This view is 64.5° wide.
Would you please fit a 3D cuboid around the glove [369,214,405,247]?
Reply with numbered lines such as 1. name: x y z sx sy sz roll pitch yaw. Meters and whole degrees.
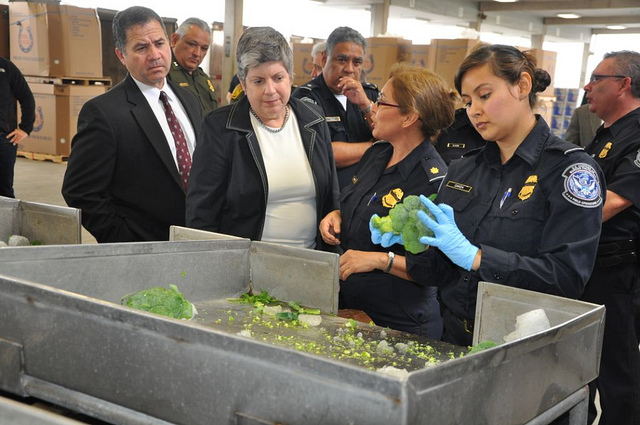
1. glove: 0.311 0.102 2.395 0.143 0.088 0.165 -1 48 -7

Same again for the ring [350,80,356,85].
1. ring: 0.235 -0.941 3.617 0.054 0.014 0.047 6 53 -17

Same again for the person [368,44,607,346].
1. person: 0.843 -0.210 2.148 0.658 0.969 0.585 9 16 14

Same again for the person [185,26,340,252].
1. person: -0.288 -0.385 2.800 0.876 1.213 0.397 1 17 -13

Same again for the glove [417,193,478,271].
1. glove: 0.530 0.079 2.075 0.275 0.297 0.116 8 16 11

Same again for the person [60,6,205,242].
1. person: -1.120 -0.517 2.919 0.705 1.327 0.501 -3 18 -26

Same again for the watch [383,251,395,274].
1. watch: 0.350 0.245 2.550 0.065 0.092 0.083 19 61 15

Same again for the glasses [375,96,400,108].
1. glasses: 0.363 -0.584 2.678 0.098 0.024 0.086 9 13 -7

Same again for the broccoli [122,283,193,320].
1. broccoli: -0.639 0.353 2.001 0.213 0.067 0.202 10 4 16

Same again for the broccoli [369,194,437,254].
1. broccoli: 0.399 0.024 2.274 0.348 0.178 0.262 4 44 42
